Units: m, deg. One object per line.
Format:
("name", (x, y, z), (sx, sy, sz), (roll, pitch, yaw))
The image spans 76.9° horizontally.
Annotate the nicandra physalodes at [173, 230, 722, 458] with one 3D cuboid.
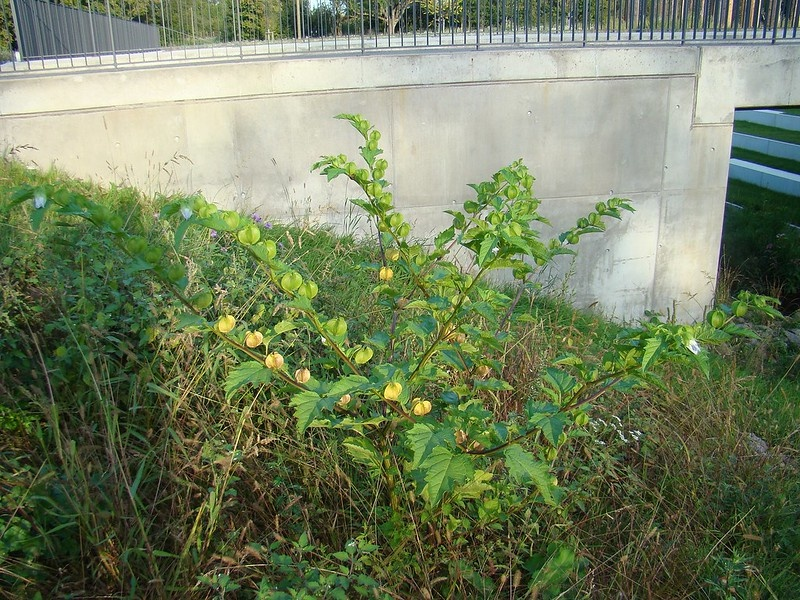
("nicandra physalodes", (0.165, 0.266, 2.053), (1.480, 0.674, 1.612), (3, 21, 0))
